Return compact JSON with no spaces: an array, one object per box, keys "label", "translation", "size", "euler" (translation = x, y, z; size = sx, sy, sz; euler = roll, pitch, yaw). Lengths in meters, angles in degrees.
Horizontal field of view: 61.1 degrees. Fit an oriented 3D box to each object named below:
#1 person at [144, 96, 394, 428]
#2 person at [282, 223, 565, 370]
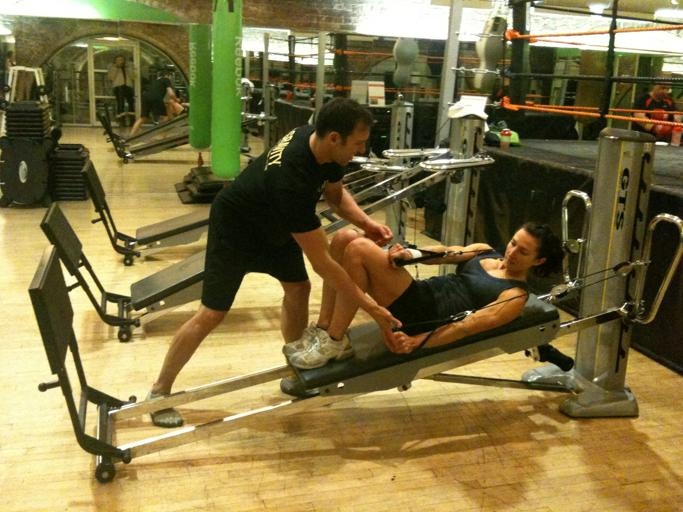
[{"label":"person","translation":[-0.277,0.026,2.954],"size":[1.465,1.494,0.991],"euler":[-11,18,-32]},{"label":"person","translation":[0.418,0.166,3.052],"size":[1.645,0.641,0.621],"euler":[-1,30,-23]}]
